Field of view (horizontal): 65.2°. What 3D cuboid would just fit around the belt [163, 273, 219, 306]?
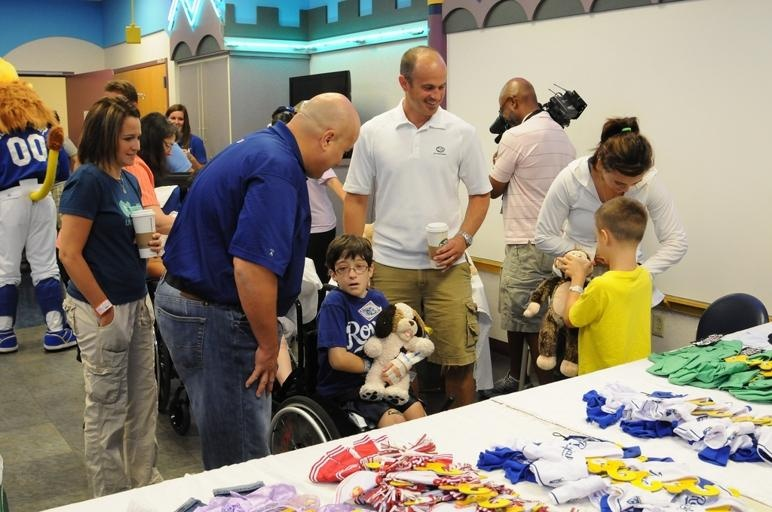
[{"bbox_3d":[-0.852,0.140,2.593,0.285,0.102,0.070,9,15,36],"label":"belt"}]

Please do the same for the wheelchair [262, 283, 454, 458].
[{"bbox_3d":[-0.121,0.524,3.244,0.686,1.139,0.827,-5,7,-41],"label":"wheelchair"}]
